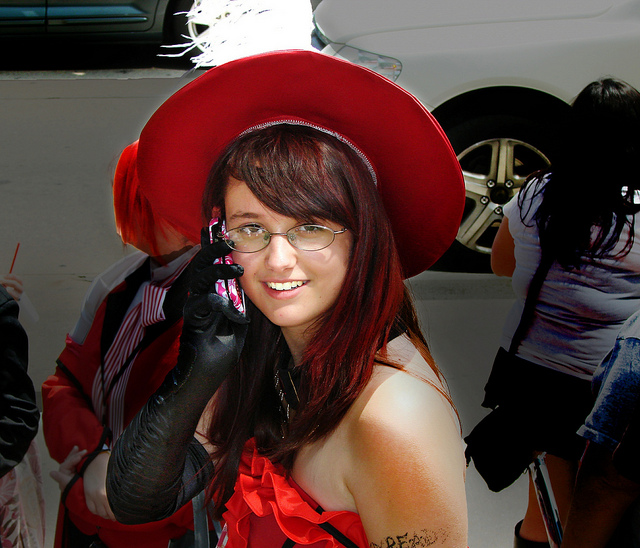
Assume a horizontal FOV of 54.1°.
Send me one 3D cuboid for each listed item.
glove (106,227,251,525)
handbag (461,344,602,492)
[{"bbox_3d":[-0.384,0.364,2.056,0.389,0.987,0.331,10,5,-34],"label":"glove"},{"bbox_3d":[0.831,0.524,2.811,0.557,0.575,0.623,21,29,23],"label":"handbag"}]
